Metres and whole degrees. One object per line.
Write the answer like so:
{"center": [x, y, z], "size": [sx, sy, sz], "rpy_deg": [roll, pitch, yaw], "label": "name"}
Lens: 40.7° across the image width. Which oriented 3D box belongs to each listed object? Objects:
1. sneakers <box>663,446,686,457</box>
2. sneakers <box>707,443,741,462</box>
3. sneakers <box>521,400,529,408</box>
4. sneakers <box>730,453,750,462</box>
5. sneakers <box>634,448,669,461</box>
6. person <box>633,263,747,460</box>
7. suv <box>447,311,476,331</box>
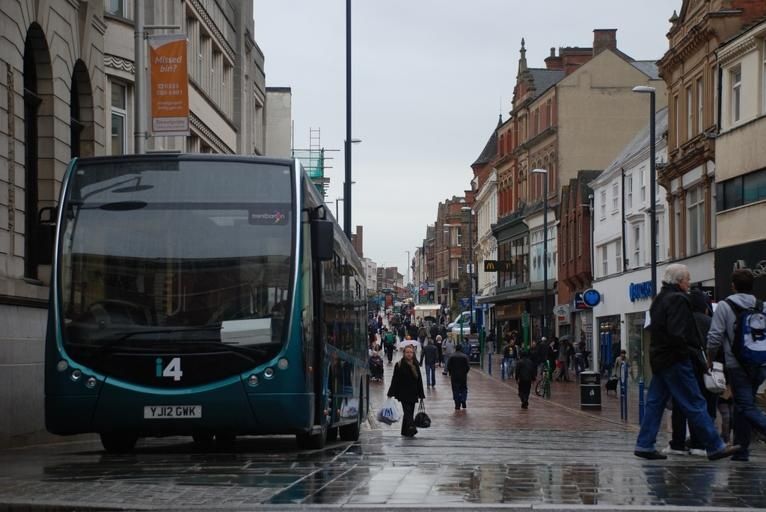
{"center": [4.277, 2.899, 15.187], "size": [0.315, 0.151, 0.119], "rpy_deg": [5, -2, 11], "label": "sneakers"}
{"center": [4.577, 2.667, 13.906], "size": [0.463, 0.211, 0.161], "rpy_deg": [-16, 22, -13], "label": "sneakers"}
{"center": [4.341, 4.608, 31.629], "size": [0.199, 0.187, 0.303], "rpy_deg": [-1, -2, 8], "label": "sneakers"}
{"center": [4.905, 2.800, 14.215], "size": [0.234, 0.144, 0.181], "rpy_deg": [2, 4, -5], "label": "sneakers"}
{"center": [3.773, 2.804, 14.518], "size": [0.493, 0.235, 0.174], "rpy_deg": [1, 2, -3], "label": "sneakers"}
{"center": [4.087, 1.444, 14.220], "size": [1.252, 2.754, 0.797], "rpy_deg": [-3, -7, 25], "label": "person"}
{"center": [6.314, 4.733, 78.797], "size": [2.784, 1.873, 1.813], "rpy_deg": [3, -5, -5], "label": "suv"}
